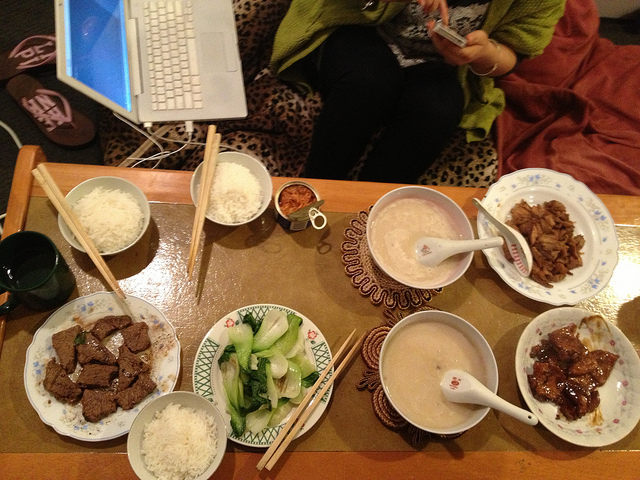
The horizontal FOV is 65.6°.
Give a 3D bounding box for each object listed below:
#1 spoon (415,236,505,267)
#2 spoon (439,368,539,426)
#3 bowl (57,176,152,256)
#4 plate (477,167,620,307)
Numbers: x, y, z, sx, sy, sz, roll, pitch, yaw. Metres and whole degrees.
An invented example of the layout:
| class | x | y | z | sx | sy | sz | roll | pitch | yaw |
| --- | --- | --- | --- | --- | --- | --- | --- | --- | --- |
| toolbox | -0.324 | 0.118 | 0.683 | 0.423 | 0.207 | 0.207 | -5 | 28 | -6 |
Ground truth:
| class | x | y | z | sx | sy | sz | roll | pitch | yaw |
| --- | --- | --- | --- | --- | --- | --- | --- | --- | --- |
| spoon | 0.588 | 0.030 | 2.090 | 0.151 | 0.337 | 0.074 | 65 | 34 | -26 |
| spoon | 0.668 | 0.629 | 1.984 | 0.351 | 0.105 | 0.113 | 27 | 65 | 31 |
| bowl | -0.891 | -0.105 | 2.118 | 0.346 | 0.141 | 0.352 | 2 | 72 | -5 |
| plate | 1.056 | -0.031 | 2.301 | 0.630 | 0.139 | 0.658 | 8 | 70 | -9 |
